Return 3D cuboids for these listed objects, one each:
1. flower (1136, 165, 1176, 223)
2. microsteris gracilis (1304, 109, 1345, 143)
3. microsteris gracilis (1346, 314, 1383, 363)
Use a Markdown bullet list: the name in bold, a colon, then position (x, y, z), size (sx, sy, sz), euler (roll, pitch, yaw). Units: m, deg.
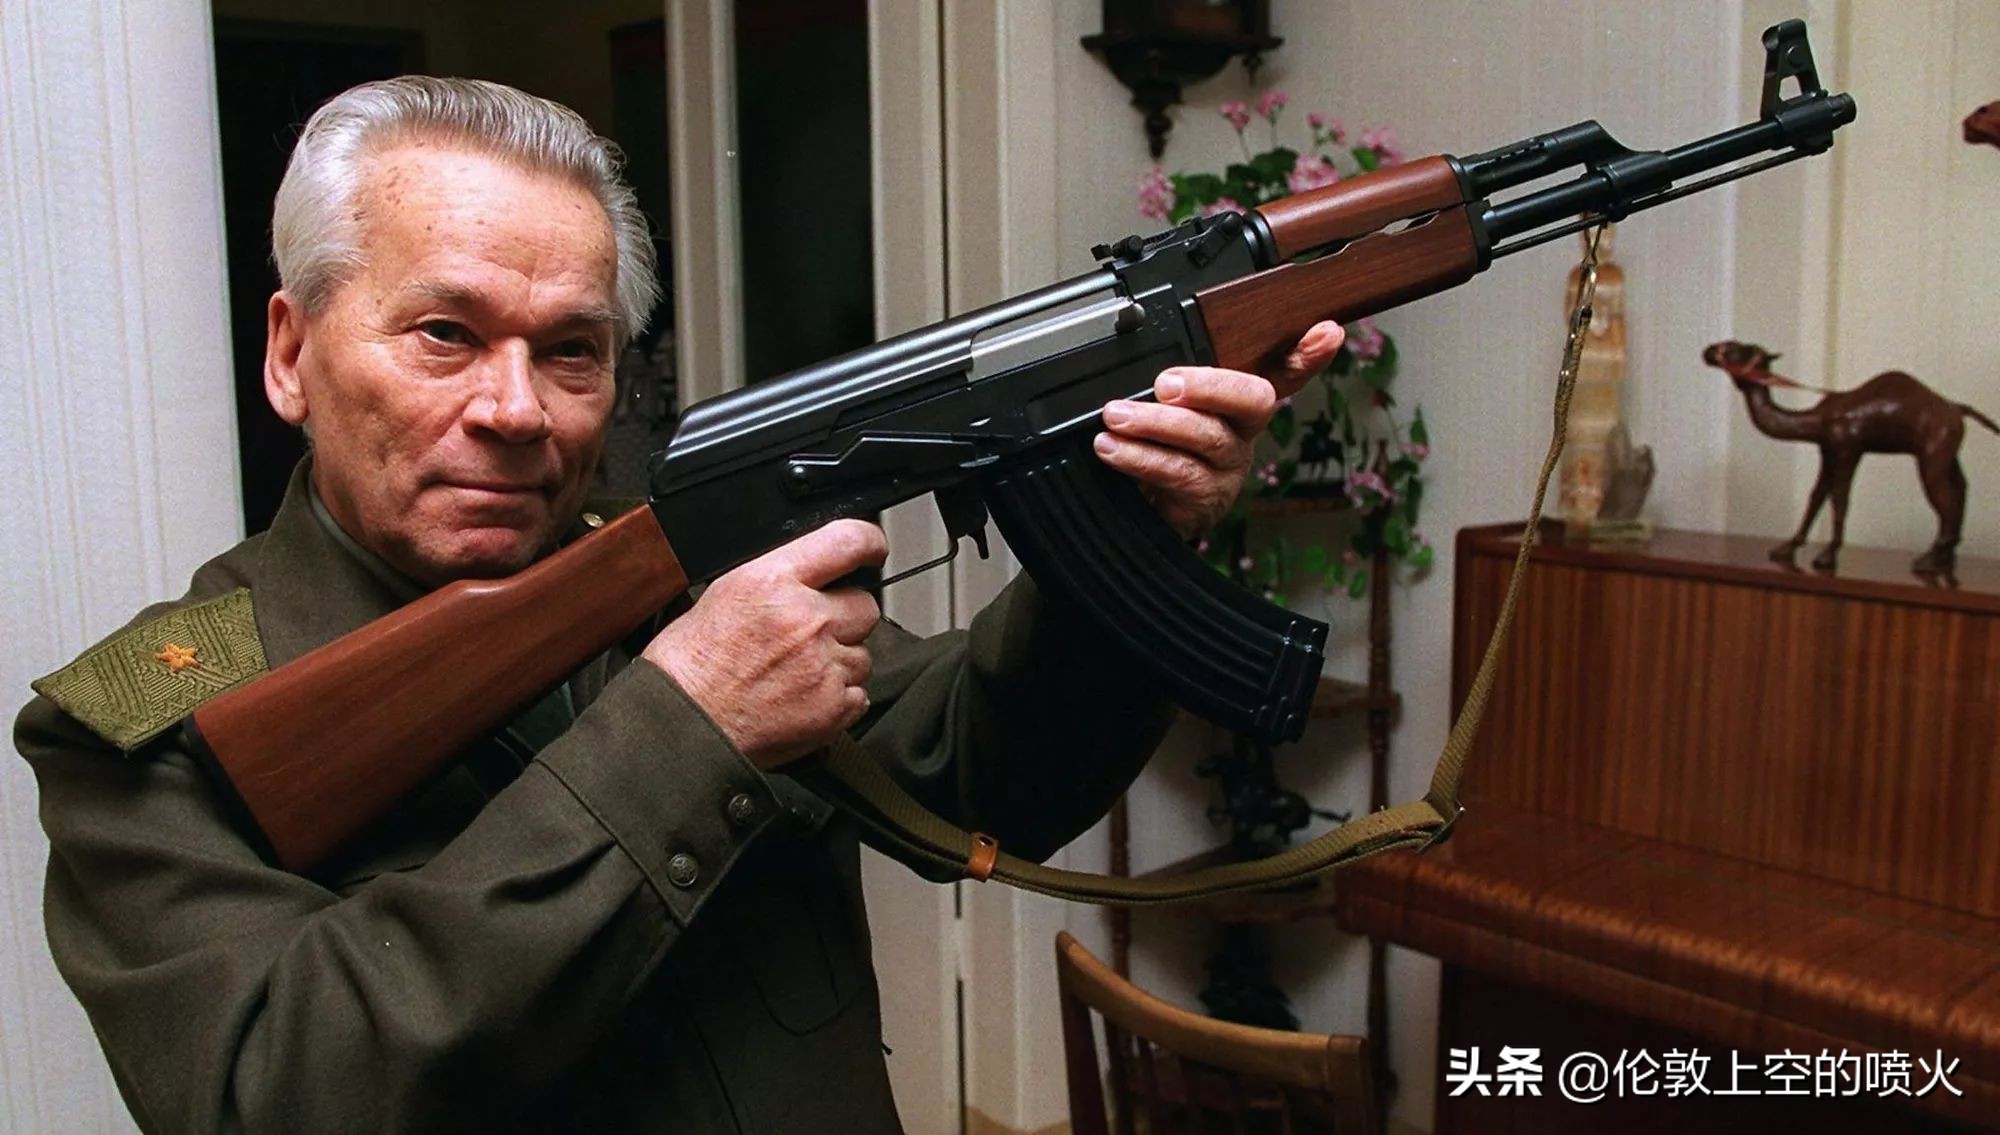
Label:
- **flower**: position (0.324, -0.765, 3.445), size (0.084, 0.105, 0.033), euler (0, 9, -2)
- **microsteris gracilis**: position (0.664, -0.885, 3.417), size (0.045, 0.046, 0.131), euler (12, -3, 32)
- **microsteris gracilis**: position (0.740, -0.457, 3.413), size (0.096, 0.106, 0.030), euler (4, 13, 23)
